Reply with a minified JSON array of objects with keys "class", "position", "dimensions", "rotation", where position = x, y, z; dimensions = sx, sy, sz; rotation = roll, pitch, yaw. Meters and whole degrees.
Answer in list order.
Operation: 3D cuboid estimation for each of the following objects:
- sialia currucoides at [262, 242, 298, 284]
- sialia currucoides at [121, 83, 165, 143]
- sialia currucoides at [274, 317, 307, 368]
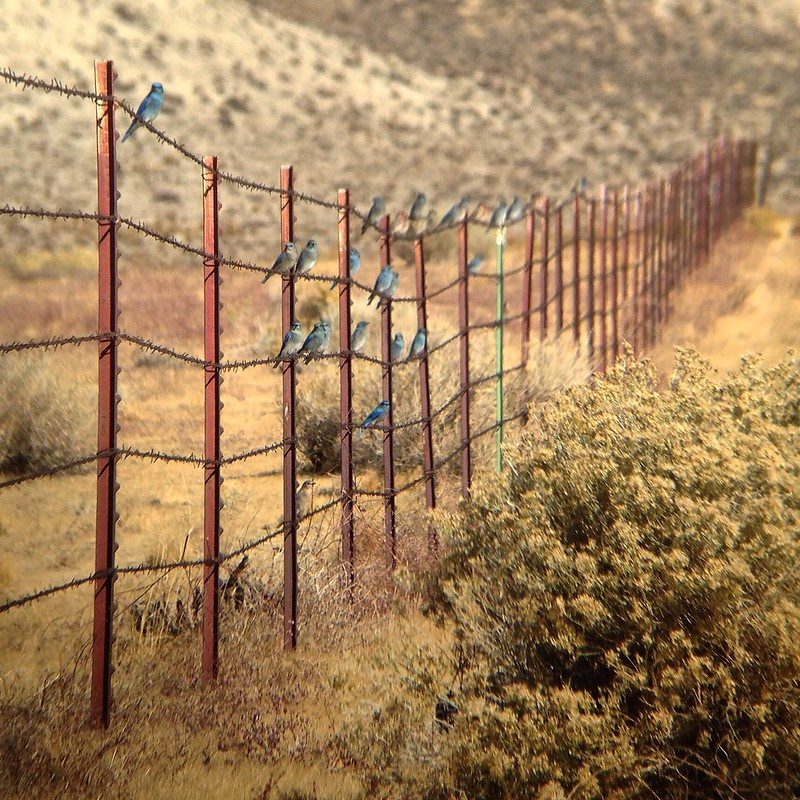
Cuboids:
[{"class":"sialia currucoides","position":[-1.296,-1.546,18.940],"dimensions":[0.304,0.302,0.944],"rotation":[-9,14,3]},{"class":"sialia currucoides","position":[-2.878,-3.369,19.691],"dimensions":[0.184,0.576,0.710],"rotation":[0,14,-31]},{"class":"sialia currucoides","position":[-1.196,-0.579,18.784],"dimensions":[0.339,0.476,1.046],"rotation":[-9,13,-3]}]
